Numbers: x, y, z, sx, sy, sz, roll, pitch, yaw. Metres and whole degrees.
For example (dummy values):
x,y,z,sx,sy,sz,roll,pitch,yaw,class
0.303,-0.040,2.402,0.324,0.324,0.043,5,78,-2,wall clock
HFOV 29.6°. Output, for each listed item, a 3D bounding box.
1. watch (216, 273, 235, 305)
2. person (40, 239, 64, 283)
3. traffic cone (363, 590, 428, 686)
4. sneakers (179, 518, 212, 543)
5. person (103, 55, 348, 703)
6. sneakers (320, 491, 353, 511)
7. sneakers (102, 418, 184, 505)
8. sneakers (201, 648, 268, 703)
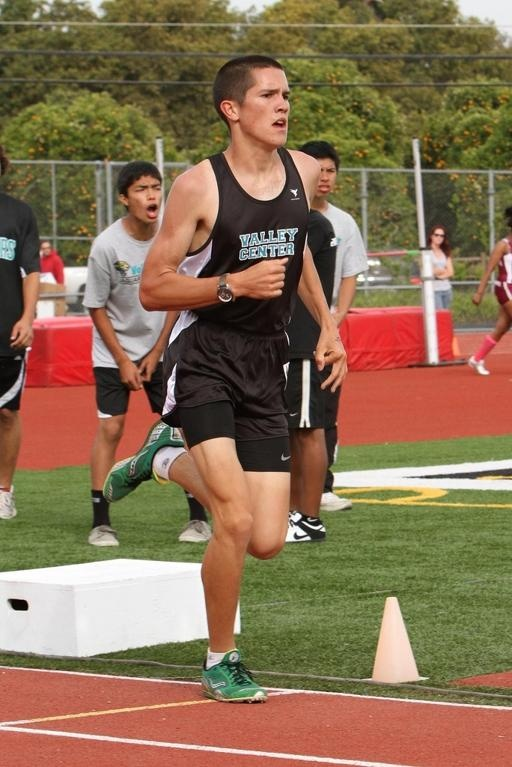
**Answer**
x,y,z,sx,sy,sz,roll,pitch,yaw,class
-0.085,-0.249,2.608,0.051,0.072,0.066,-7,45,-1,watch
-4.453,-2.662,21.264,0.433,0.955,1.203,-1,4,-14,person
0.403,0.750,2.797,0.226,0.228,0.166,-6,-5,32,traffic cone
-0.342,0.852,5.513,0.098,0.083,0.205,9,-4,-29,sneakers
-0.034,-0.031,3.027,0.565,1.934,1.052,0,4,5,person
0.566,0.806,6.452,0.249,0.094,0.105,-2,-4,34,sneakers
-0.521,0.371,4.397,0.240,0.290,0.690,44,6,-7,sneakers
-0.067,0.810,2.669,0.115,0.120,0.293,5,-9,-29,sneakers
